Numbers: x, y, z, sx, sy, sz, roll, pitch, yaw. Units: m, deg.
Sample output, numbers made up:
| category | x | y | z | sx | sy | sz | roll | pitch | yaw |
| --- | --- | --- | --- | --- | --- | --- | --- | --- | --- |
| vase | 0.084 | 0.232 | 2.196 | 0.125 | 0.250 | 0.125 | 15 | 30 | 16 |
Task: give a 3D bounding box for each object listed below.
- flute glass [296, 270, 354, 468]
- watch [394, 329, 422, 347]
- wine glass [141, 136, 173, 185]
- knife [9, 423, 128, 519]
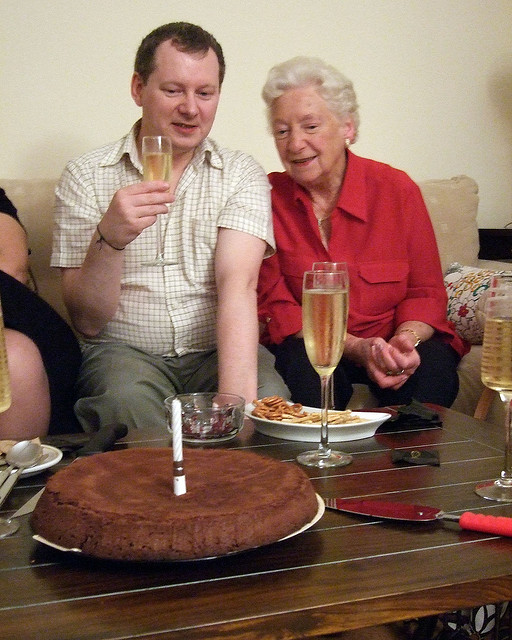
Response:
| category | x | y | z | sx | sy | sz | roll | pitch | yaw |
| --- | --- | --- | --- | --- | --- | --- | --- | --- | --- |
| flute glass | 0.097 | 0.069 | 0.802 | 0.107 | 0.268 | 0.095 | 0 | -2 | -10 |
| watch | 0.498 | 0.057 | 1.836 | 0.059 | 0.017 | 0.060 | 38 | -5 | 22 |
| wine glass | -0.242 | -0.393 | 1.373 | 0.064 | 0.111 | 0.051 | 0 | 3 | -9 |
| knife | -0.250 | 0.199 | 0.813 | 0.028 | 0.019 | 0.177 | 3 | 16 | 21 |
